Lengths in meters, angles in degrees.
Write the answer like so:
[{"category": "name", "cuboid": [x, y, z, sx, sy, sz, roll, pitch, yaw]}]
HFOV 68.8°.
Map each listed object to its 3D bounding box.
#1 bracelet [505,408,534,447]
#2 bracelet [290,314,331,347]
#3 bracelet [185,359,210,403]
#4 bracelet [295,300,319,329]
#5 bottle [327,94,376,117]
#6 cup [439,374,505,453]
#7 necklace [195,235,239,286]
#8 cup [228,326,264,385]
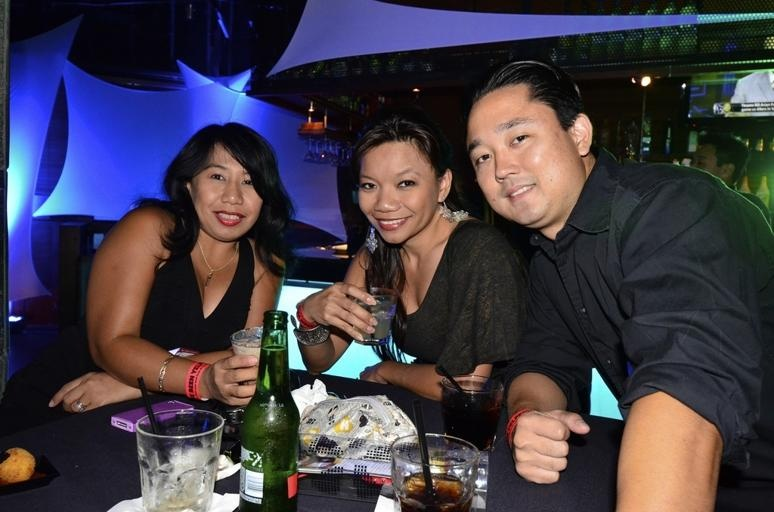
[{"category": "bracelet", "cuboid": [0.458, 0.606, 2.015, 0.056, 0.134, 0.103, 23, -32, -10]}, {"category": "bracelet", "cuboid": [-0.372, 0.370, 2.812, 0.282, 0.115, 0.275, 1, 5, -4]}, {"category": "bracelet", "cuboid": [-0.777, 0.535, 2.389, 0.056, 0.133, 0.116, 4, -12, -4]}, {"category": "bracelet", "cuboid": [-0.412, 0.300, 2.855, 0.122, 0.122, 0.045, 2, -8, -13]}, {"category": "bottle", "cuboid": [-0.433, -2.069, 7.738, 0.240, 0.263, 0.941, 5, 5, 40]}, {"category": "cup", "cuboid": [0.290, 0.528, 1.991, 0.242, 0.266, 0.242, 0, -4, 0]}, {"category": "necklace", "cuboid": [-0.946, 0.028, 3.114, 0.204, 0.269, 0.045, 7, -4, -17]}, {"category": "cup", "cuboid": [-0.538, 0.387, 2.163, 0.160, 0.173, 0.166, -2, -1, 0]}]
